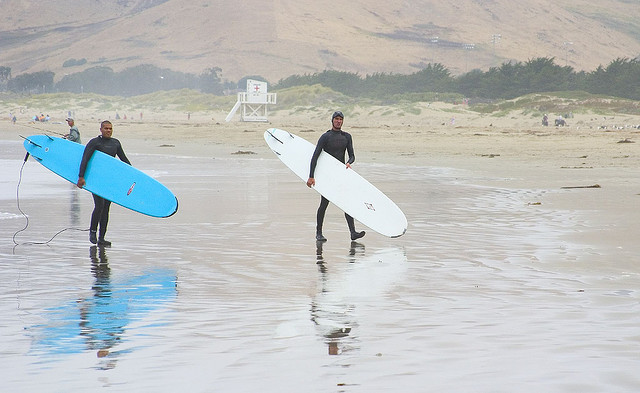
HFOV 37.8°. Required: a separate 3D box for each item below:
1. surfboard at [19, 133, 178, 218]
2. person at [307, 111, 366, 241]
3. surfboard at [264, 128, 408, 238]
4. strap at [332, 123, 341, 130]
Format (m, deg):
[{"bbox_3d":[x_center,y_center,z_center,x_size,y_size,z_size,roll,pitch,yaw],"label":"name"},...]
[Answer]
[{"bbox_3d":[-5.138,-0.663,18.971,1.478,0.649,4.894,13,5,-31],"label":"surfboard"},{"bbox_3d":[0.340,-0.441,18.361,1.099,2.500,1.228,4,12,1],"label":"person"},{"bbox_3d":[0.351,-0.239,18.442,2.980,1.931,1.142,10,13,40],"label":"surfboard"},{"bbox_3d":[0.317,-1.367,18.148,0.104,0.104,0.147,5,10,9],"label":"strap"}]
